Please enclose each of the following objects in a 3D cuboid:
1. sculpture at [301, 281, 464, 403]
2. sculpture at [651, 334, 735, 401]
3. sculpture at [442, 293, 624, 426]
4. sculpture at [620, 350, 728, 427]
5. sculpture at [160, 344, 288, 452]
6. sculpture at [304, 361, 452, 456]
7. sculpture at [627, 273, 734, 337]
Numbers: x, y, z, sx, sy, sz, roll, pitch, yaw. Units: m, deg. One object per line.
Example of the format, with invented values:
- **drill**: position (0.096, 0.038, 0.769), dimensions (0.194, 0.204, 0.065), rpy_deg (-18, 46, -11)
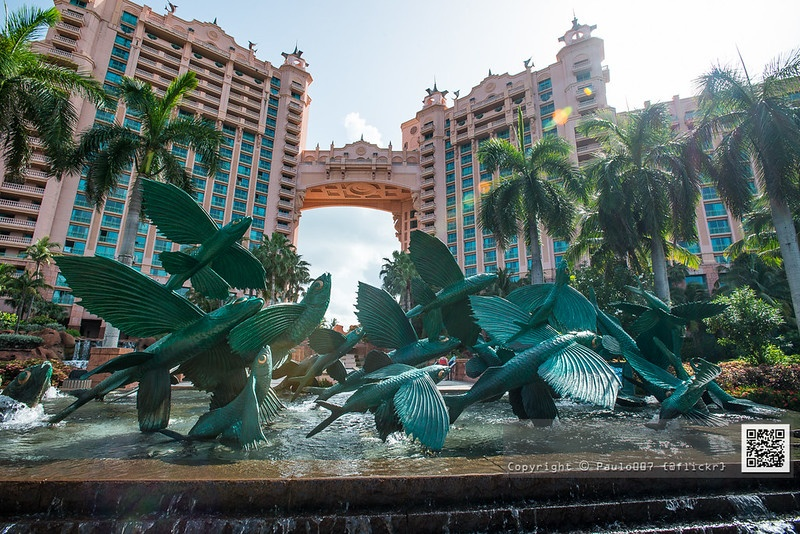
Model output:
- **sculpture**: position (-0.329, 2.024, 8.477), dimensions (3.367, 3.155, 1.463), rpy_deg (-16, -29, 34)
- **sculpture**: position (6.645, 2.454, 9.811), dimensions (0.808, 1.653, 1.735), rpy_deg (-21, -26, 17)
- **sculpture**: position (2.084, 1.847, 7.961), dimensions (2.955, 1.549, 2.956), rpy_deg (-7, 27, 7)
- **sculpture**: position (5.711, 2.429, 8.940), dimensions (1.550, 0.777, 1.448), rpy_deg (11, -15, -35)
- **sculpture**: position (-2.890, 2.198, 7.654), dimensions (1.303, 1.650, 0.606), rpy_deg (-1, -13, 4)
- **sculpture**: position (-0.193, 2.285, 7.725), dimensions (2.063, 1.302, 2.034), rpy_deg (-13, -3, 19)
- **sculpture**: position (6.062, 0.941, 9.978), dimensions (1.893, 1.121, 1.402), rpy_deg (-6, -14, 27)
